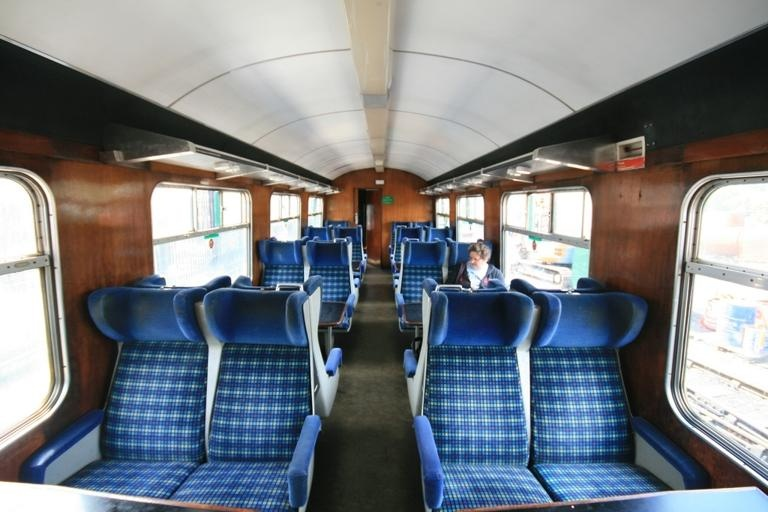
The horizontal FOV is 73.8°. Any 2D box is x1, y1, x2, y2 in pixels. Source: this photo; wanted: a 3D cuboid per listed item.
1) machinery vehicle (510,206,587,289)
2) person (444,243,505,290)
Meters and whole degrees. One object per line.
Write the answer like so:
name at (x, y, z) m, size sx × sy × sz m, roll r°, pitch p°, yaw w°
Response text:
machinery vehicle at (2.104, 0.056, 6.720) m, size 1.413 × 0.683 × 0.050 m, roll 7°, pitch -6°, yaw -27°
person at (1.322, 0.192, 7.425) m, size 0.821 × 0.744 × 0.479 m, roll 10°, pitch 1°, yaw 17°
